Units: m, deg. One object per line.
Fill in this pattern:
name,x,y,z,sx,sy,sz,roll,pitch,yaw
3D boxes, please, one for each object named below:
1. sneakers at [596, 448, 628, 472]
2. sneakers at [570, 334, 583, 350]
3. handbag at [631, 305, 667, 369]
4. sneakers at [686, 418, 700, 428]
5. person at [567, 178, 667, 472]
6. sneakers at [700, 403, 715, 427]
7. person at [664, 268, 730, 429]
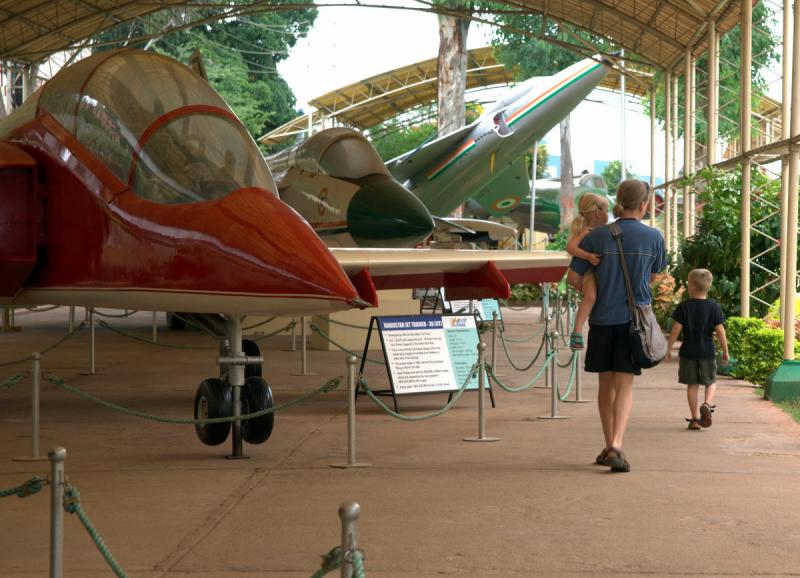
sneakers,2.180,1.722,9.828,0.352,0.260,0.277,0,2,22
sneakers,1.890,0.545,10.104,0.129,0.175,0.179,-1,-3,-6
handbag,2.576,0.469,9.735,0.269,0.635,0.408,1,2,41
sneakers,3.547,1.610,11.533,0.151,0.119,0.127,1,2,31
person,2.240,0.355,9.890,0.931,2.986,0.492,0,1,12
sneakers,3.727,1.499,11.548,0.150,0.361,0.169,3,11,8
person,3.660,0.707,11.674,0.650,1.915,1.083,0,1,17
